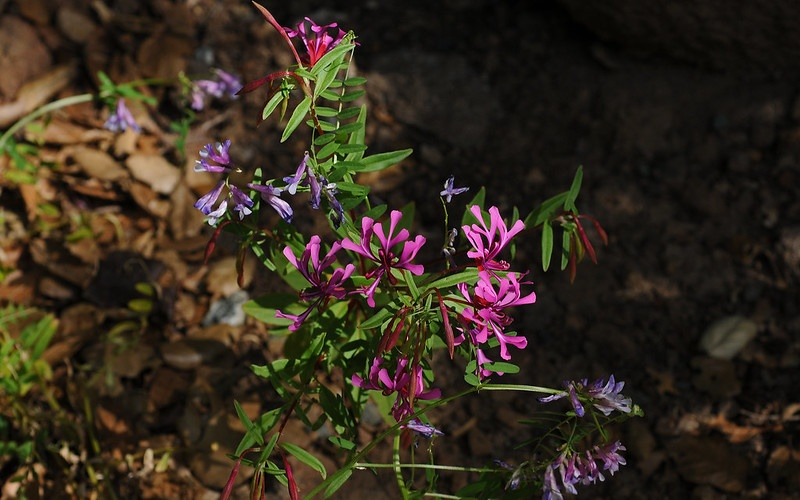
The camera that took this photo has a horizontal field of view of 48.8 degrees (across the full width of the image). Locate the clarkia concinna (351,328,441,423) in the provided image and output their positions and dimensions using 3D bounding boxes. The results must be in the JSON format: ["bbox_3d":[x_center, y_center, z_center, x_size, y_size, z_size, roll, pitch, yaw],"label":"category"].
[{"bbox_3d":[-0.013,0.537,3.506,0.282,0.326,0.151,-19,16,31],"label":"clarkia concinna"}]

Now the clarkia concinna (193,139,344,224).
[{"bbox_3d":[-0.524,-0.337,3.533,0.444,0.430,0.368,-4,18,6],"label":"clarkia concinna"}]

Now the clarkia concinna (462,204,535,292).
[{"bbox_3d":[0.334,-0.033,3.546,0.191,0.346,0.149,-3,15,-30],"label":"clarkia concinna"}]

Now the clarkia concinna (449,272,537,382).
[{"bbox_3d":[0.343,0.279,3.545,0.292,0.433,0.308,16,13,-9],"label":"clarkia concinna"}]
